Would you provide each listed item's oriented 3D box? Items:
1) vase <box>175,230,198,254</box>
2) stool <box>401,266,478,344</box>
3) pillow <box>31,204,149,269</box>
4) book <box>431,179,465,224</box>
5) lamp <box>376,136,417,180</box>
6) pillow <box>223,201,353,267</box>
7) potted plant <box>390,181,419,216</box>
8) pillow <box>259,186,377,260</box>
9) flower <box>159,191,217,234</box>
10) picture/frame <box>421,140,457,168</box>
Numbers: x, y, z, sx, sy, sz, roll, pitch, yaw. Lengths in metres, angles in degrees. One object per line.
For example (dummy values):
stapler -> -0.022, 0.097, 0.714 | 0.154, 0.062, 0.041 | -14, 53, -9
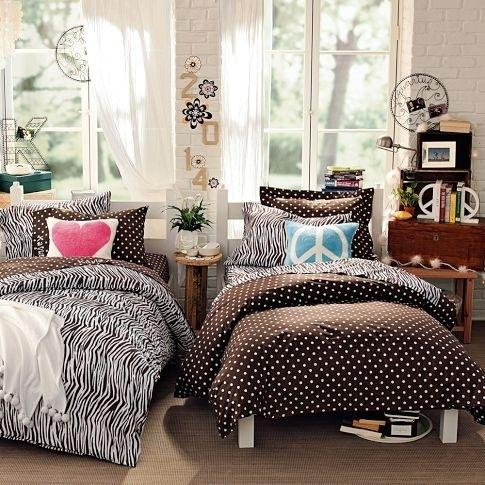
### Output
vase -> -0.363, 0.004, 3.261 | 0.185, 0.155, 0.134 | 4, 1, -18
stool -> 1.264, 0.402, 3.300 | 0.553, 0.464, 0.515 | 0, 1, 3
pillow -> -0.901, -0.027, 2.852 | 0.443, 0.226, 0.120 | 1, -24, -4
book -> 1.302, -0.257, 3.282 | 0.266, 0.317, 0.254 | 1, 8, 15
lamp -> 1.007, -0.612, 3.327 | 0.329, 0.120, 0.132 | 14, 8, -6
pillow -> 0.134, -0.052, 3.021 | 0.630, 0.395, 0.174 | 6, -15, 11
potted plant -> 1.084, -0.280, 3.309 | 0.227, 0.201, 0.197 | -1, 8, 28
pillow -> 0.445, -0.113, 3.021 | 0.539, 0.331, 0.110 | 1, -11, 4
flower -> -0.357, -0.164, 3.194 | 0.330, 0.137, 0.265 | -5, 5, -36
picture/frame -> 1.307, -0.593, 3.281 | 0.211, 0.152, 0.015 | 0, 8, 5
